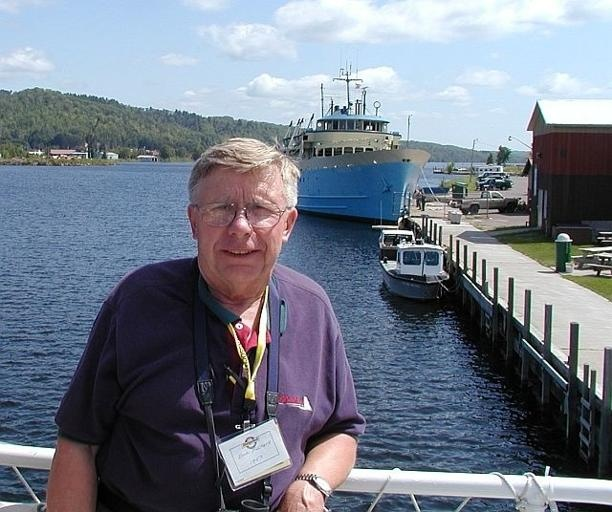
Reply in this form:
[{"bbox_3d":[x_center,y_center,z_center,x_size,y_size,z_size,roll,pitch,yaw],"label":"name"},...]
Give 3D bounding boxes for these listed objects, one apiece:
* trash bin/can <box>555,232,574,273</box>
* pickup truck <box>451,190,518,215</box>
[{"bbox_3d":[8.817,-0.068,21.643,0.482,1.300,0.796,4,9,22],"label":"trash bin/can"},{"bbox_3d":[13.615,-3.352,47.960,4.529,1.594,2.145,-6,16,-13],"label":"pickup truck"}]
